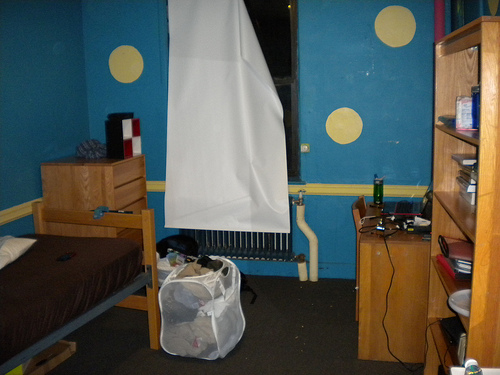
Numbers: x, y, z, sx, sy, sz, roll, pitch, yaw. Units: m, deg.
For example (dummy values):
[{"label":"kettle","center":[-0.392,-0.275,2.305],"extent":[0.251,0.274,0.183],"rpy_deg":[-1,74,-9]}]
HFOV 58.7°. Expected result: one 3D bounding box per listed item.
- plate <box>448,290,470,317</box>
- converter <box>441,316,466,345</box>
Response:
[{"label":"plate","center":[1.213,0.667,2.561],"extent":[0.120,0.035,0.129],"rpy_deg":[-8,17,4]},{"label":"converter","center":[1.308,0.918,2.861],"extent":[0.041,0.187,0.179],"rpy_deg":[4,36,-12]}]
